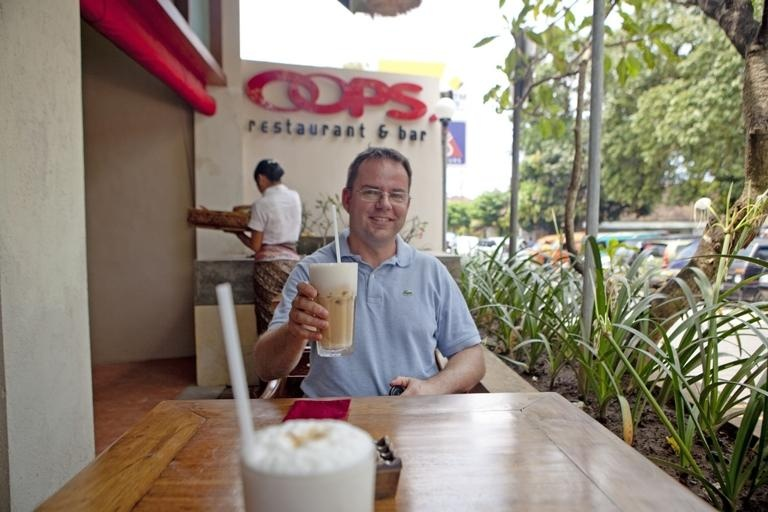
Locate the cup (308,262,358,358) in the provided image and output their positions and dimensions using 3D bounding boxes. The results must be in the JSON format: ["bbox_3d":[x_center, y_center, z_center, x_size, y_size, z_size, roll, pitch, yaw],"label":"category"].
[{"bbox_3d":[-0.231,0.247,2.719,0.221,0.439,0.136,-3,7,-29],"label":"cup"}]

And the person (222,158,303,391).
[{"bbox_3d":[-0.994,0.143,5.304,0.738,1.975,0.675,-8,14,-34],"label":"person"}]
